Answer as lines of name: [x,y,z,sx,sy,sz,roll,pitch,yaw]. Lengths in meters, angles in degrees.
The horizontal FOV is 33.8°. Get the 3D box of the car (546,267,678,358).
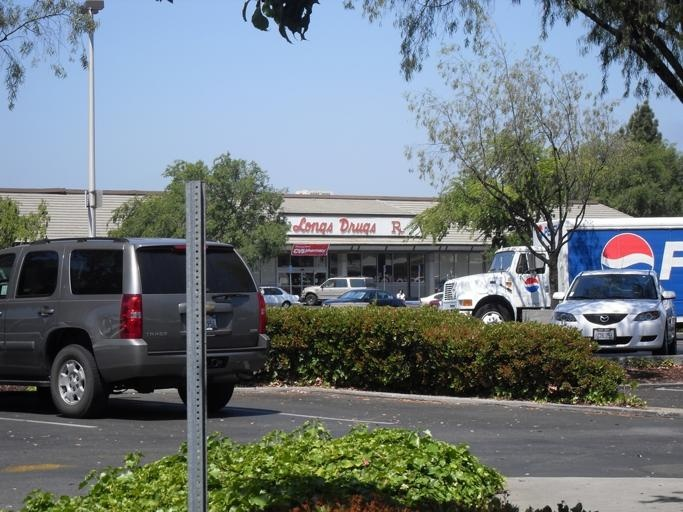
car: [5.921,1.214,24.342,2.311,1.852,2.861,0,-1,22]
